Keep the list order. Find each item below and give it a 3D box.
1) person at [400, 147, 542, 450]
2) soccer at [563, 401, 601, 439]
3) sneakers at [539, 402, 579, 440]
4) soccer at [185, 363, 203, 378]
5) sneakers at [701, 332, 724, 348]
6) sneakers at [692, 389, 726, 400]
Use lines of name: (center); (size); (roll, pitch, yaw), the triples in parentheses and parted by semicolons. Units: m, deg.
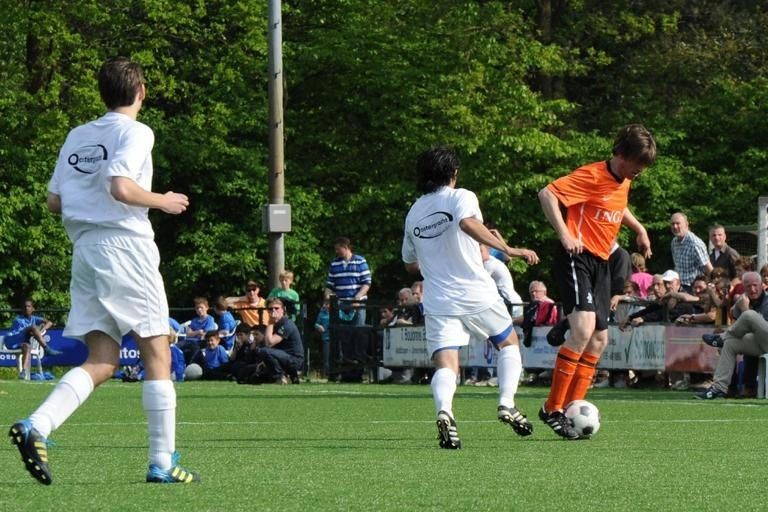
person: (1.086, 0.561, 20.755); (1.595, 4.228, 1.096); (-1, -5, -1)
soccer: (2.828, 2.308, 20.829); (0.501, 0.553, 0.497); (-2, -9, 1)
sneakers: (2.487, 2.419, 20.968); (0.675, 0.248, 0.285); (38, -21, 14)
soccer: (-4.073, 2.461, 31.236); (0.322, 0.277, 0.280); (14, -15, 26)
sneakers: (5.837, 1.484, 25.902); (0.438, 0.159, 0.169); (7, -15, -19)
sneakers: (5.699, 2.414, 25.587); (0.528, 0.218, 0.188); (4, -6, 11)
